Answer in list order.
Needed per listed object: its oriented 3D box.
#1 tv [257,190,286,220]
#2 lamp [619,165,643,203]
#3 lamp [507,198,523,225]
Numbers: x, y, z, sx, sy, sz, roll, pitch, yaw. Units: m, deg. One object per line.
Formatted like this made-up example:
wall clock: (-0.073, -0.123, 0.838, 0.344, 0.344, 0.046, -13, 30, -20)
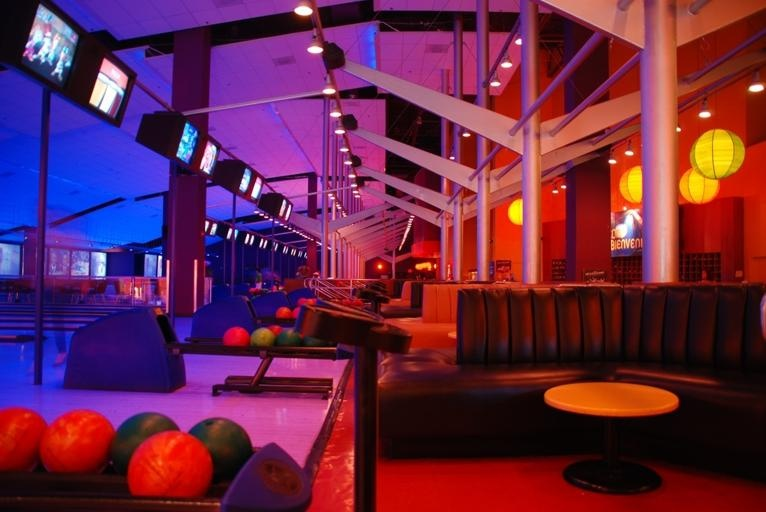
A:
tv: (-2.510, -0.957, 13.930, 0.476, 0.653, 0.931, 0, -4, 4)
lamp: (4.187, -1.264, 10.452, 0.313, 0.674, 1.544, -1, -6, 20)
lamp: (2.864, -0.991, 13.385, 0.273, 0.584, 0.559, 0, -5, 6)
